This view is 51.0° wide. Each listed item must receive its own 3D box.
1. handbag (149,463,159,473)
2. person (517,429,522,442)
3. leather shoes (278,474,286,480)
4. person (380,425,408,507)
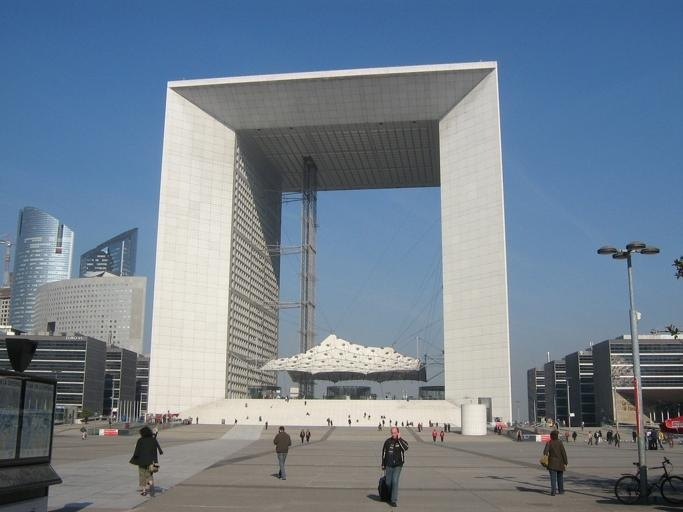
[{"bbox_3d":[-5.030,5.695,19.236,0.209,0.264,0.274,0,-5,-3],"label":"handbag"},{"bbox_3d":[11.782,11.799,47.220,0.383,0.682,1.080,-4,-14,12],"label":"person"},{"bbox_3d":[-1.889,6.969,22.598,0.137,0.171,0.402,2,-17,-11],"label":"leather shoes"},{"bbox_3d":[1.303,5.355,18.213,0.669,1.890,0.629,-8,-15,26],"label":"person"}]
